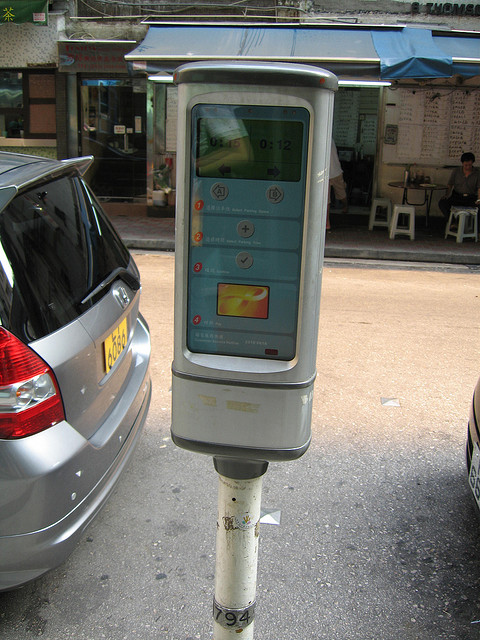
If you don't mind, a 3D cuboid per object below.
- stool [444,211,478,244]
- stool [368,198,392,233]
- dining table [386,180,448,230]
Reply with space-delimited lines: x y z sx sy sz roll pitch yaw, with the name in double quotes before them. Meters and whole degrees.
"stool" 5.132 -2.118 11.428 0.813 0.675 0.754 2 13 -1
"stool" 3.541 -2.666 12.647 0.537 0.812 1.386 6 13 16
"dining table" 4.378 -2.823 12.479 1.354 0.966 1.315 2 16 10
